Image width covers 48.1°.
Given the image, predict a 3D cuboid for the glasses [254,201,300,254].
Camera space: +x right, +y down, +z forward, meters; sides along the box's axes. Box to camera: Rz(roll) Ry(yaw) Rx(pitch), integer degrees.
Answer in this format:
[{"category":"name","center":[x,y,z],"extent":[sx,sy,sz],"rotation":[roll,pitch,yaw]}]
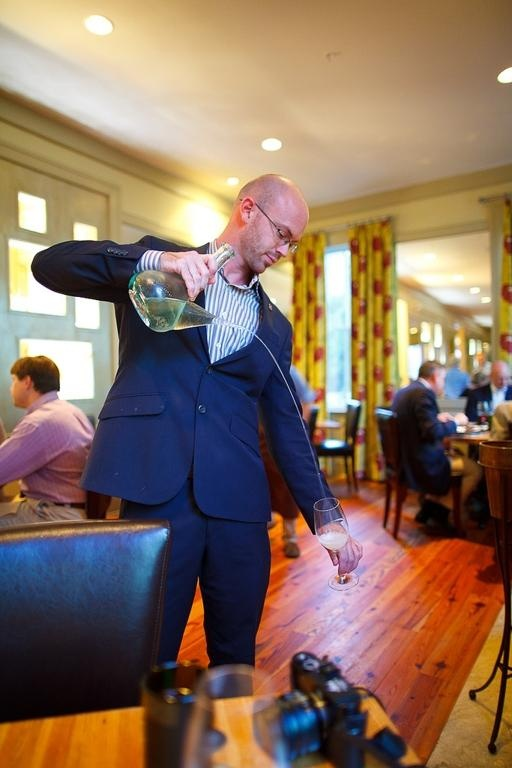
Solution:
[{"category":"glasses","center":[0.031,-0.327,1.176],"extent":[0.085,0.025,0.082],"rotation":[53,12,26]}]

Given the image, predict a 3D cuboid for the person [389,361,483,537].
[{"category":"person","center":[1.115,0.375,3.591],"extent":[0.542,1.041,0.480],"rotation":[-2,1,-40]}]

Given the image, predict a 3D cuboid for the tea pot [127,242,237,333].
[{"category":"tea pot","center":[-0.119,-0.141,0.974],"extent":[0.192,0.100,0.082],"rotation":[-2,1,-40]}]

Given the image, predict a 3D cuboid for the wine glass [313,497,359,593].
[{"category":"wine glass","center":[0.149,0.299,1.077],"extent":[0.078,0.168,0.130],"rotation":[-1,1,10]}]
